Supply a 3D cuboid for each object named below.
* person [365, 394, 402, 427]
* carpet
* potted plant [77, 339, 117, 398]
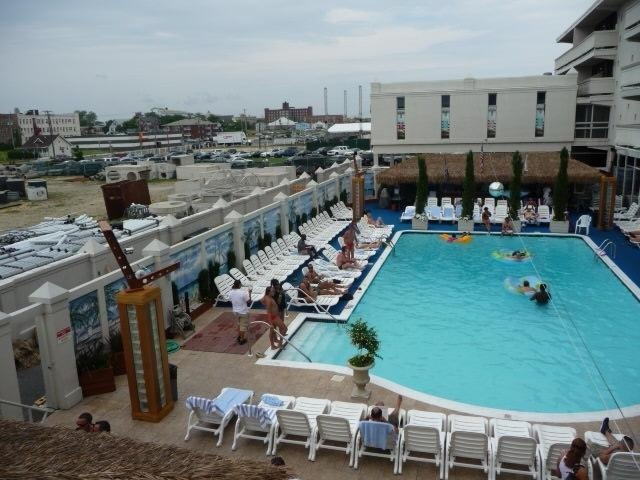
[{"bbox_3d":[1.492,3.572,8.455,0.457,0.838,0.655,20,68,33],"label":"person"},{"bbox_3d":[-3.015,3.107,13.516,2.350,0.078,2.596,1,14,13],"label":"carpet"},{"bbox_3d":[-5.970,3.371,10.714,0.775,1.162,1.017,-10,16,-27],"label":"potted plant"}]
